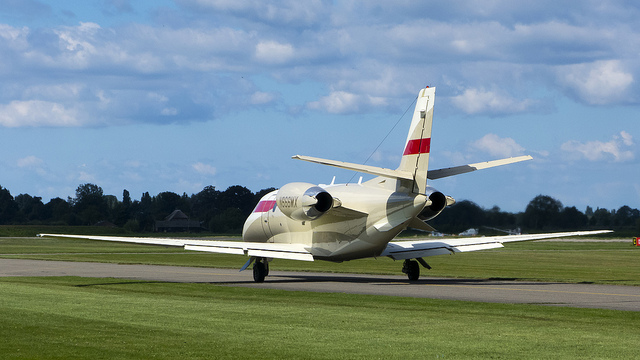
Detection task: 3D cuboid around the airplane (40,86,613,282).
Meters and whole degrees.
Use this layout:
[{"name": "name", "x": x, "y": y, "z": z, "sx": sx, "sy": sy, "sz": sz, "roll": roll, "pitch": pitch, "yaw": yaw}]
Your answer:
[{"name": "airplane", "x": 0.618, "y": 1.270, "z": 46.112, "sx": 29.205, "sy": 10.400, "sz": 23.232, "roll": 2, "pitch": -7, "yaw": -26}]
